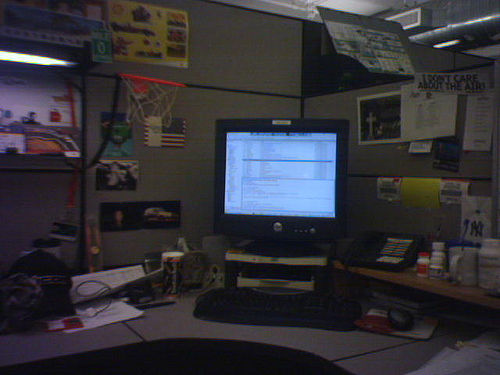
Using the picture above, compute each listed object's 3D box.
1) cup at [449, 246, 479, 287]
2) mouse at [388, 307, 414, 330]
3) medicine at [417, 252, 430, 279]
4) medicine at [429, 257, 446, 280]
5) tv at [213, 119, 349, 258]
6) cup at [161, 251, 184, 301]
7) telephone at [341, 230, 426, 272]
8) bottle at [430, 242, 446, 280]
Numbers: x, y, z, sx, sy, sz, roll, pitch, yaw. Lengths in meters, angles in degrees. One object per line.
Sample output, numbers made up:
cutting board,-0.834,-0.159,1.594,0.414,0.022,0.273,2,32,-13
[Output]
cup,0.490,0.185,0.973,0.093,0.083,0.053,-1,3,-26
mouse,0.343,0.300,0.973,0.054,0.032,0.052,4,6,18
medicine,0.429,0.192,1.052,0.028,0.061,0.026,4,6,21
medicine,0.456,0.196,1.036,0.035,0.054,0.019,4,6,16
tv,0.104,-0.009,1.200,0.376,0.340,0.202,2,0,22
cup,-0.208,0.233,1.132,0.057,0.117,0.058,2,6,0
telephone,0.345,0.165,1.117,0.207,0.101,0.075,5,7,33
bottle,0.460,0.179,1.039,0.034,0.088,0.033,2,6,0
